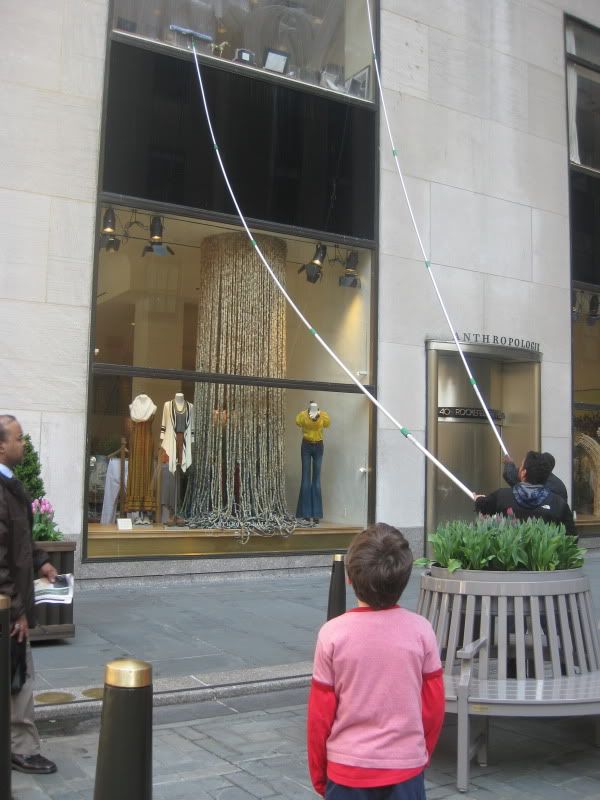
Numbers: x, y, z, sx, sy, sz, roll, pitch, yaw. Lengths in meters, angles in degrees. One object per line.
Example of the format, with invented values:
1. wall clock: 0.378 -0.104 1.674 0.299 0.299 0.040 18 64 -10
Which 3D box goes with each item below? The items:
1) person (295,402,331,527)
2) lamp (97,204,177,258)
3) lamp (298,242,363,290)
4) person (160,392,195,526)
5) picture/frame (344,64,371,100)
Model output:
1. person: 0.181 0.848 11.272 0.525 1.628 0.263 4 -5 -32
2. lamp: -1.913 -1.965 9.918 0.377 0.535 1.106 -1 -5 23
3. lamp: 0.387 -1.863 11.357 0.469 0.421 0.232 19 11 -27
4. person: -1.539 0.716 10.436 0.445 1.642 0.300 3 -5 -21
5. picture/frame: 0.791 -4.433 11.589 0.529 0.637 0.043 5 -12 -24
